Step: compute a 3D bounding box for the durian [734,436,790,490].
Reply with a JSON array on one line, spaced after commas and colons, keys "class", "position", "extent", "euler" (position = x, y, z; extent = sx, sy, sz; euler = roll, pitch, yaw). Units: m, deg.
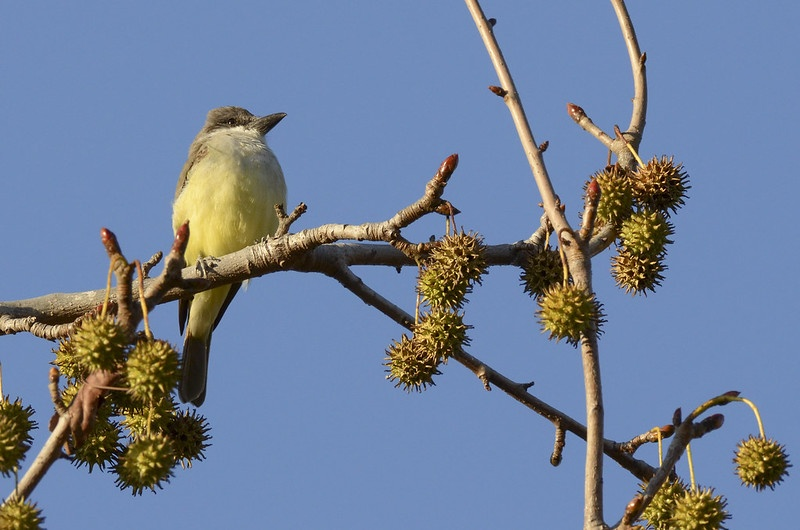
[{"class": "durian", "position": [1.752, 0.975, 6.610], "extent": [0.242, 0.254, 0.283], "euler": [-7, -79, 6]}]

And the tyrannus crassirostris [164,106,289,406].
[{"class": "tyrannus crassirostris", "position": [-1.114, -0.158, 8.438], "extent": [0.726, 1.979, 2.071], "euler": [1, -92, -11]}]
